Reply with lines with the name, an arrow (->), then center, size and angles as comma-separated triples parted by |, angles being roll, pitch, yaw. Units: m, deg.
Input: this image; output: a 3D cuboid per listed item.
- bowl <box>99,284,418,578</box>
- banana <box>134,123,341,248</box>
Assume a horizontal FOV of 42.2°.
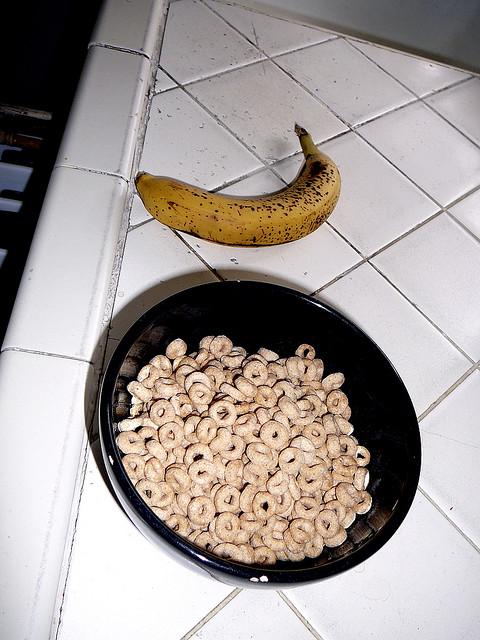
bowl -> 0.027, 0.118, 0.691 | 0.344, 0.136, 0.309 | 10, 53, -2
banana -> 0.032, -0.186, 0.915 | 0.311, 0.080, 0.184 | -21, 77, -31
